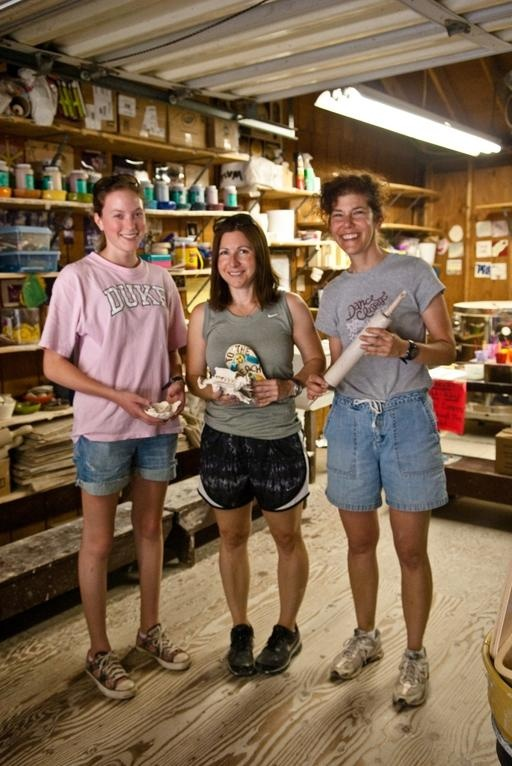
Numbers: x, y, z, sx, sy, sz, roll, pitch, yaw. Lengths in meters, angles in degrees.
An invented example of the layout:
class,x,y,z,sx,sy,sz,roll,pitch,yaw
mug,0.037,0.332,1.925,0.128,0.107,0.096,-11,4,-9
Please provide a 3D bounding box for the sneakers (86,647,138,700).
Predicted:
class,x,y,z,sx,sy,sz,roll,pitch,yaw
sneakers,-0.473,0.929,1.819,0.082,0.090,0.216,1,-3,-38

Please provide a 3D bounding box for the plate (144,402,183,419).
class,x,y,z,sx,sy,sz,roll,pitch,yaw
plate,-0.281,0.081,1.690,0.063,0.023,0.049,-17,20,-36

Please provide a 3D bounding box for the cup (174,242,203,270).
class,x,y,z,sx,sy,sz,roll,pitch,yaw
cup,-0.435,-0.824,3.745,0.193,0.197,0.189,-1,0,0

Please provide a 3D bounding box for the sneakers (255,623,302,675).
class,x,y,z,sx,sy,sz,roll,pitch,yaw
sneakers,0.076,0.903,1.928,0.083,0.101,0.220,0,-2,25

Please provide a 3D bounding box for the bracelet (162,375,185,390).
class,x,y,z,sx,sy,sz,roll,pitch,yaw
bracelet,-0.272,-0.004,1.858,0.021,0.057,0.044,21,-16,38

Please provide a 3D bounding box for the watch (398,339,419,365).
class,x,y,z,sx,sy,sz,roll,pitch,yaw
watch,0.407,-0.077,1.537,0.041,0.063,0.061,1,7,-43

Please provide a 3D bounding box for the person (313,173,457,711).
class,x,y,z,sx,sy,sz,roll,pitch,yaw
person,0.350,0.182,1.692,0.437,1.604,0.506,0,3,37

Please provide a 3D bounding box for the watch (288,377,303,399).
class,x,y,z,sx,sy,sz,roll,pitch,yaw
watch,0.128,0.013,1.694,0.051,0.052,0.056,-17,35,17

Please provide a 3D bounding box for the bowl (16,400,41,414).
class,x,y,z,sx,sy,sz,roll,pitch,yaw
bowl,-1.235,0.135,3.044,0.127,0.057,0.119,-1,3,0

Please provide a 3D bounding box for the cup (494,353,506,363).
class,x,y,z,sx,sy,sz,roll,pitch,yaw
cup,1.741,-0.177,4.014,0.080,0.074,0.077,-1,3,0

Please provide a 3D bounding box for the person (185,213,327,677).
class,x,y,z,sx,sy,sz,roll,pitch,yaw
person,0.014,0.229,1.801,0.419,1.489,0.430,-2,3,-17

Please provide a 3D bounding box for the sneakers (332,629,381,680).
class,x,y,z,sx,sy,sz,roll,pitch,yaw
sneakers,0.334,0.903,1.917,0.083,0.104,0.222,-3,4,42

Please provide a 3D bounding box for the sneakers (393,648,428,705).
class,x,y,z,sx,sy,sz,roll,pitch,yaw
sneakers,0.482,0.899,1.743,0.075,0.086,0.195,-3,3,20

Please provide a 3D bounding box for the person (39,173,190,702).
class,x,y,z,sx,sy,sz,roll,pitch,yaw
person,-0.439,0.166,1.825,0.432,1.646,0.400,-2,3,-6

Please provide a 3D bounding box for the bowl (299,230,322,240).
class,x,y,z,sx,sy,sz,roll,pitch,yaw
bowl,0.466,-1.281,4.870,0.184,0.084,0.217,0,2,5

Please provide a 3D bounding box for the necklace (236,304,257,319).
class,x,y,z,sx,sy,sz,roll,pitch,yaw
necklace,-0.032,-0.215,1.721,0.080,0.042,0.041,-1,3,13

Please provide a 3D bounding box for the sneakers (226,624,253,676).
class,x,y,z,sx,sy,sz,roll,pitch,yaw
sneakers,-0.060,0.902,1.877,0.066,0.068,0.176,0,-1,0

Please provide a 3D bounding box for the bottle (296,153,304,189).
class,x,y,z,sx,sy,sz,roll,pitch,yaw
bottle,0.368,-1.765,4.683,0.056,0.312,0.124,0,3,24
